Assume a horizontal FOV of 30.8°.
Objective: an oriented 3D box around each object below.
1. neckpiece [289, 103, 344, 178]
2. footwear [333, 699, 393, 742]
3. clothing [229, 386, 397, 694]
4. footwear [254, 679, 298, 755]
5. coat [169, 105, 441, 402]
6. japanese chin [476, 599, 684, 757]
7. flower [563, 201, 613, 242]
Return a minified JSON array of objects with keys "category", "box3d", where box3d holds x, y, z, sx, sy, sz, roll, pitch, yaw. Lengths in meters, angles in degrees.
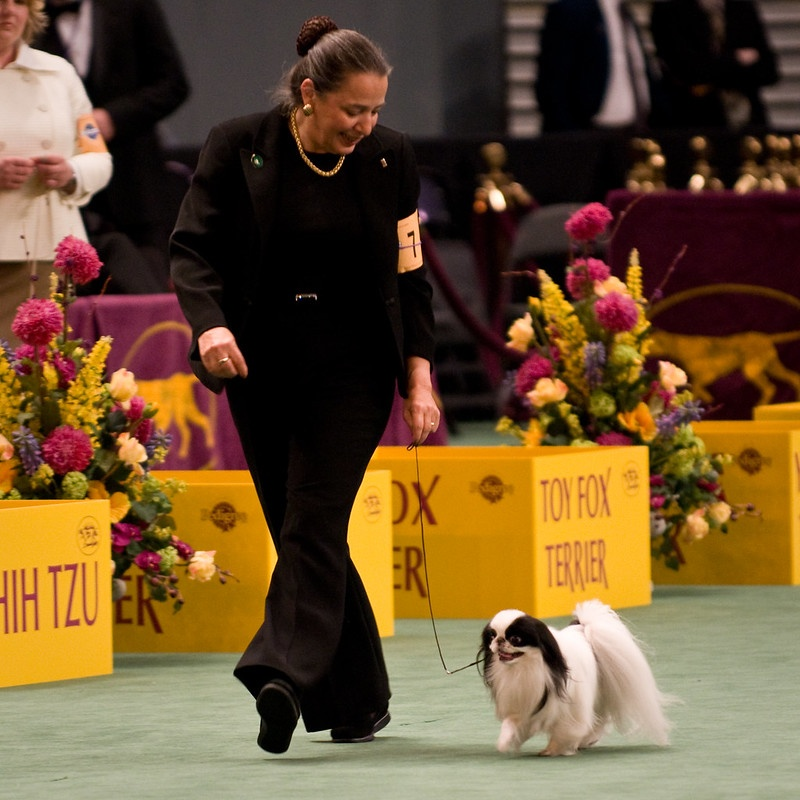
[{"category":"neckpiece","box3d":[-0.146,-0.436,2.478,0.101,0.117,0.024,-26,8,-34]},{"category":"footwear","box3d":[-0.060,0.593,2.692,0.054,0.043,0.123,1,0,37]},{"category":"clothing","box3d":[-0.145,0.212,2.575,0.321,0.527,0.373,-5,-16,-11]},{"category":"footwear","box3d":[-0.213,0.518,2.427,0.066,0.141,0.060,7,34,3]},{"category":"coat","box3d":[-0.143,-0.255,2.489,0.496,0.495,0.205,-4,3,-22]},{"category":"japanese chin","box3d":[0.271,0.487,2.558,0.288,0.267,0.510,-1,-12,37]},{"category":"flower","box3d":[0.595,-0.558,4.593,0.133,0.135,0.226,-2,3,7]}]
